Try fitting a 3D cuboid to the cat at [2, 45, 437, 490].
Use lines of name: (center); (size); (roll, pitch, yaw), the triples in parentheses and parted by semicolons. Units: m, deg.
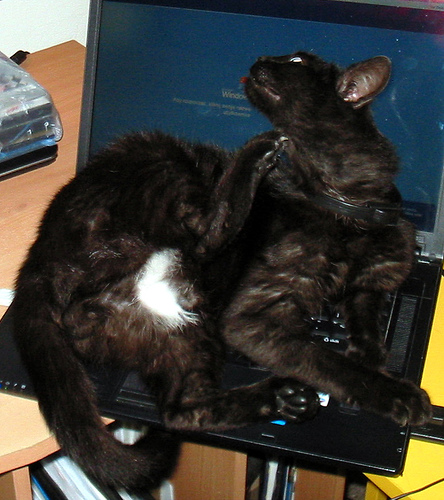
cat: (-0.148, 0.103, 1.166); (1.113, 0.425, 0.682); (7, 56, 9)
